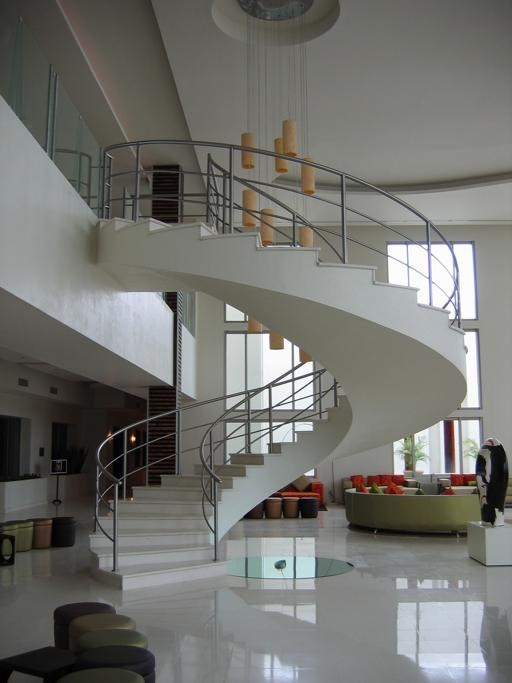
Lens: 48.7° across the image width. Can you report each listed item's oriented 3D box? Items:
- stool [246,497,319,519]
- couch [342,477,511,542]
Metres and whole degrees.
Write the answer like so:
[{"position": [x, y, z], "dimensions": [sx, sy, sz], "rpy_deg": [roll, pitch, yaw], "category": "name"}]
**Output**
[{"position": [0.538, 3.453, 11.648], "dimensions": [1.402, 0.404, 0.598], "rpy_deg": [-1, -12, 0], "category": "stool"}, {"position": [2.532, 2.843, 9.329], "dimensions": [2.089, 0.678, 0.828], "rpy_deg": [-4, -12, 16], "category": "couch"}]
